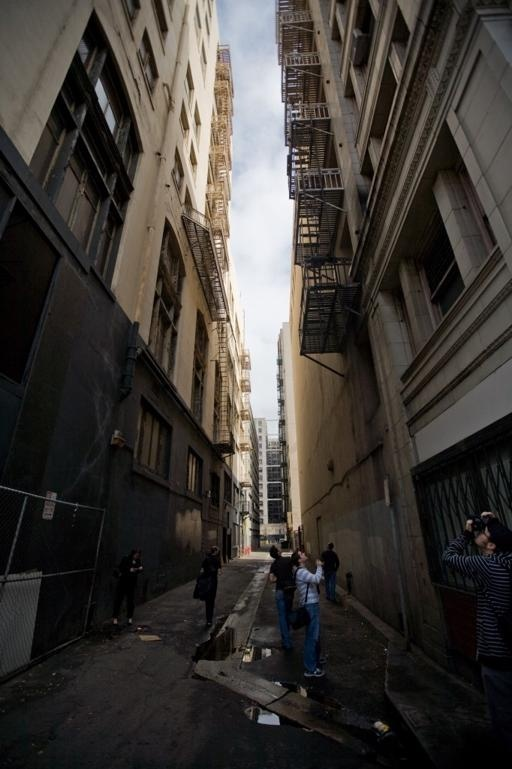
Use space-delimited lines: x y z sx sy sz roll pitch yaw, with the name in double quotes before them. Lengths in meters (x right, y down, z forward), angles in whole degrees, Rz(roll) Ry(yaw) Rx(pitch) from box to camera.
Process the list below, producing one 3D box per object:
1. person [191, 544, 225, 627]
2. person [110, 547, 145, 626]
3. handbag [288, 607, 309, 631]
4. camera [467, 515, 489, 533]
"person" -1.160 4.675 7.840 0.519 1.660 1.993 3 -26 -8
"person" -2.819 4.362 7.249 0.487 1.440 1.235 8 -24 -22
"handbag" 0.599 3.134 4.504 0.269 0.233 0.190 -7 -24 13
"camera" 1.632 1.025 2.446 0.099 0.076 0.150 -22 -30 26
